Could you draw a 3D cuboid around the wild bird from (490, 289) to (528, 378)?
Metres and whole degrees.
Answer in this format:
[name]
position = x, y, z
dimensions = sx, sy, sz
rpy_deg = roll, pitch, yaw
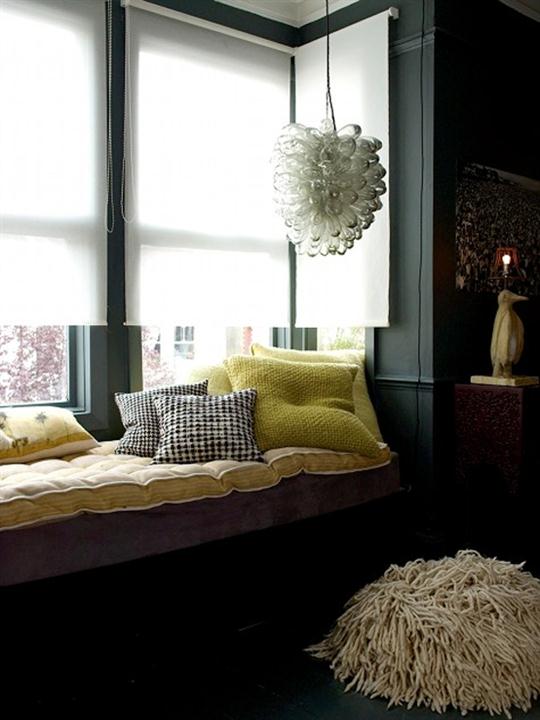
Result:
[wild bird]
position = 1.131, -0.127, 2.814
dimensions = 0.149, 0.327, 0.251
rpy_deg = -2, 1, 21

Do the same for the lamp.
[lamp]
position = 0.200, -0.607, 2.092
dimensions = 0.403, 0.641, 0.325
rpy_deg = -2, 1, 10
